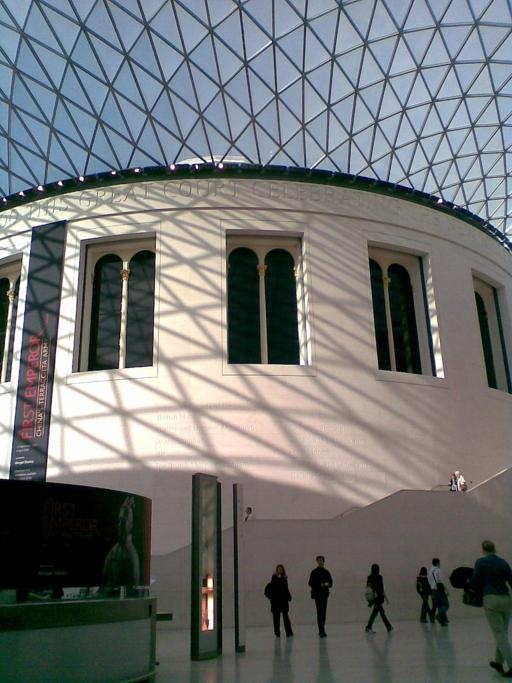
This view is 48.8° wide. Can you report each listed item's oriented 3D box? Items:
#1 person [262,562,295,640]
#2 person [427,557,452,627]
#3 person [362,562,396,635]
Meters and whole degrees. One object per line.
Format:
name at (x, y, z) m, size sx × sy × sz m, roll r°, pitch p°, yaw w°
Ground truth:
person at (0.462, 5.185, 11.267) m, size 0.479 × 1.302 × 0.595 m, roll -4°, pitch -19°, yaw 1°
person at (4.188, 5.780, 13.061) m, size 0.385 × 1.367 × 1.677 m, roll -9°, pitch -20°, yaw 14°
person at (2.564, 5.505, 12.144) m, size 0.542 × 1.331 × 2.222 m, roll -7°, pitch -20°, yaw 10°
